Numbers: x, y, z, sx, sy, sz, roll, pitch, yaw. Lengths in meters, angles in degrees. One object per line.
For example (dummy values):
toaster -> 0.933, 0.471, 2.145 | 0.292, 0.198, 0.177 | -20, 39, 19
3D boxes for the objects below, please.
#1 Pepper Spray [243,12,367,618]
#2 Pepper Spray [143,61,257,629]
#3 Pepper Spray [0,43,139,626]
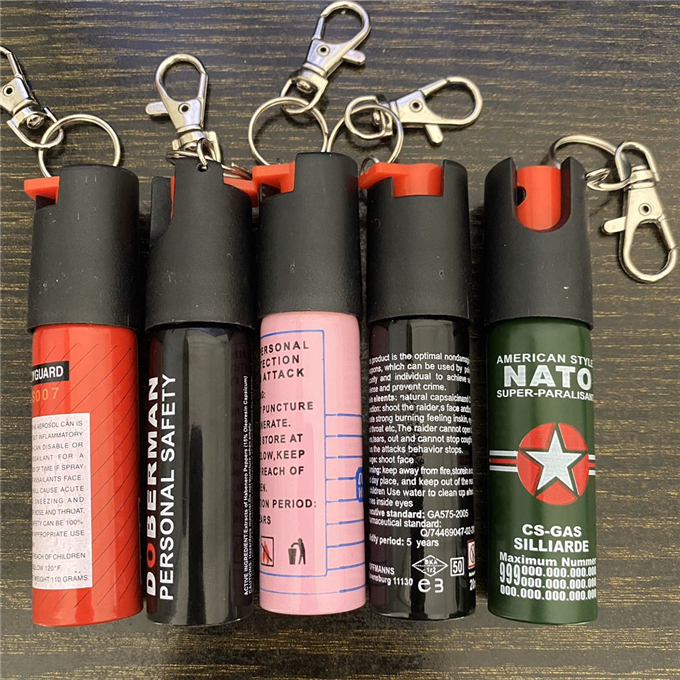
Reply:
Pepper Spray -> -0.021, -0.042, 0.864 | 0.110, 0.549, 0.093 | -2, -8, 1
Pepper Spray -> -0.118, -0.017, 0.862 | 0.088, 0.499, 0.093 | 0, -8, -10
Pepper Spray -> -0.229, -0.023, 0.877 | 0.110, 0.516, 0.114 | 2, -9, -24
